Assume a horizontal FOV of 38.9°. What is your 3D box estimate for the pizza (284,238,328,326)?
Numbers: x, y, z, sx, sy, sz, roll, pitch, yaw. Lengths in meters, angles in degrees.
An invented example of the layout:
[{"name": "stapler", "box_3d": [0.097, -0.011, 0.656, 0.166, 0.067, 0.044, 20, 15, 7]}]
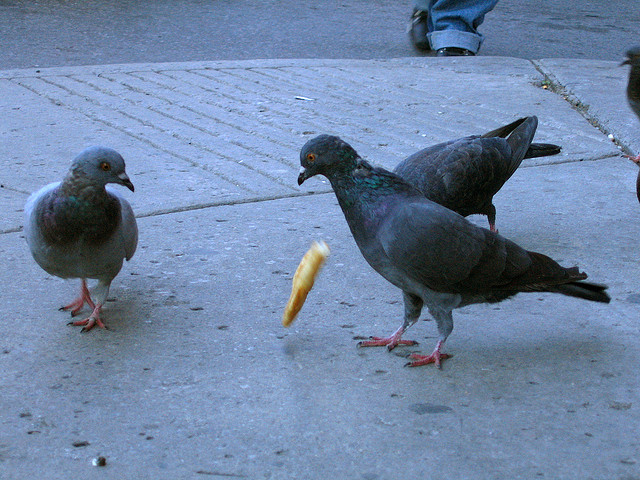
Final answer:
[{"name": "pizza", "box_3d": [-0.073, 0.217, 4.953, 0.218, 0.140, 0.514, 23, 63, -5]}]
